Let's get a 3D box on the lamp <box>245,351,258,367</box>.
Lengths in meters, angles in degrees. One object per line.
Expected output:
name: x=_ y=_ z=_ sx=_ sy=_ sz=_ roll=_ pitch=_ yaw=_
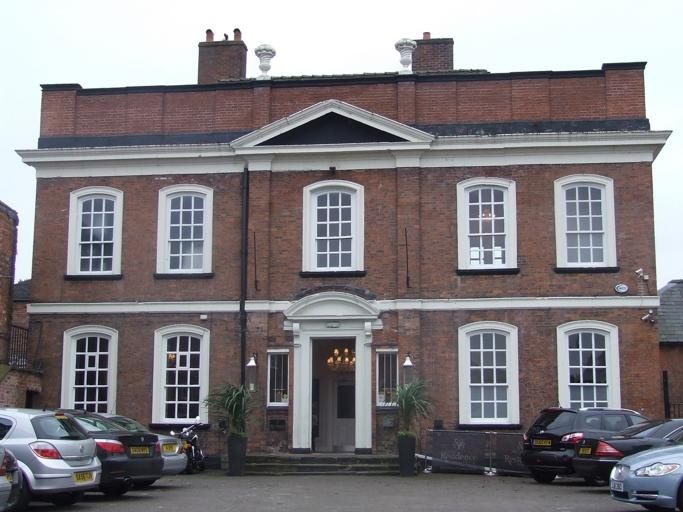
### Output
lamp: x=-2.622 y=2.977 z=31.926 sx=0.337 sy=0.470 sz=0.375 roll=0 pitch=-12 yaw=0

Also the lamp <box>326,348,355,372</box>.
lamp: x=-0.020 y=3.179 z=34.045 sx=0.800 sy=0.541 sz=0.761 roll=1 pitch=-11 yaw=-3

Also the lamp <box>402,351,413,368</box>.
lamp: x=1.854 y=2.964 z=31.346 sx=0.376 sy=0.451 sz=0.358 roll=1 pitch=-21 yaw=0

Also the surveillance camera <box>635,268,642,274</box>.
surveillance camera: x=8.446 y=0.400 z=31.493 sx=0.147 sy=0.137 sz=0.068 roll=-2 pitch=-12 yaw=18

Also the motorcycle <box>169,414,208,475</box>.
motorcycle: x=-4.160 y=5.375 z=30.631 sx=0.593 sy=1.114 sz=1.902 roll=2 pitch=-9 yaw=-11
